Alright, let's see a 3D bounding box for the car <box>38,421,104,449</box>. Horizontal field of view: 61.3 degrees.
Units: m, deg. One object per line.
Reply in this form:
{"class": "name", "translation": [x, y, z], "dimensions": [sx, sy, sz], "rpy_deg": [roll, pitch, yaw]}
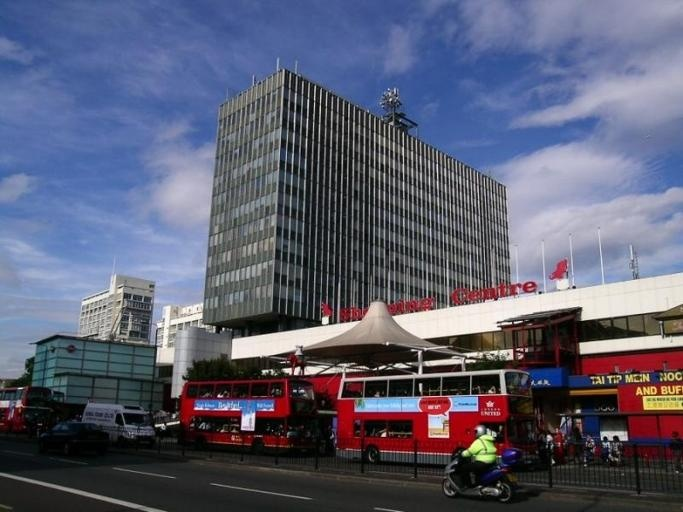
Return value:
{"class": "car", "translation": [-15.162, 10.084, 32.249], "dimensions": [3.407, 1.613, 1.432], "rpy_deg": [-7, -19, 17]}

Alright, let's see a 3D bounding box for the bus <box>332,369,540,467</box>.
{"class": "bus", "translation": [4.663, 9.313, 33.039], "dimensions": [12.804, 5.256, 5.054], "rpy_deg": [-10, -17, 33]}

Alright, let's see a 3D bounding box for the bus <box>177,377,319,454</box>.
{"class": "bus", "translation": [-6.731, 10.793, 39.508], "dimensions": [11.119, 5.119, 2.993], "rpy_deg": [-15, -23, 36]}
